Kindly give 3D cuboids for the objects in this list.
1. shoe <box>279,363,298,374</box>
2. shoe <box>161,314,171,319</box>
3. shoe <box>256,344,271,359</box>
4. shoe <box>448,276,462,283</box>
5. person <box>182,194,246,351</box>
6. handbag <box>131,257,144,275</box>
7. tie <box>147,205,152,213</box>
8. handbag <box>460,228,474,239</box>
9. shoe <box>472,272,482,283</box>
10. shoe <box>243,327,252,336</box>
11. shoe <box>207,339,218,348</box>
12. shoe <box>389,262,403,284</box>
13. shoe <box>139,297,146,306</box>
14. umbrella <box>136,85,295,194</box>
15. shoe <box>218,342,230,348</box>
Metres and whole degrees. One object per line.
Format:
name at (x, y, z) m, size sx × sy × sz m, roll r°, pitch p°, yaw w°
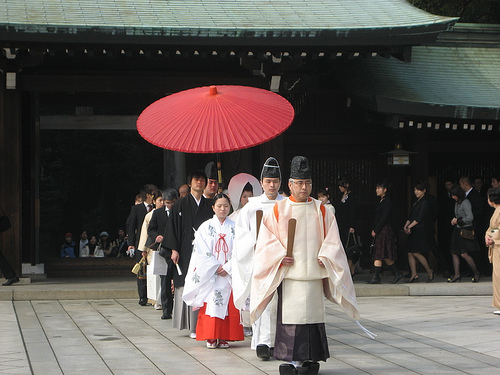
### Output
shoe at (0.481, 2.378, 11.030) m, size 0.175 × 0.120 × 0.127 m, roll 0°, pitch -7°, yaw -3°
shoe at (-1.366, 2.122, 13.863) m, size 0.146 × 0.066 × 0.077 m, roll 2°, pitch -1°, yaw -11°
shoe at (0.179, 2.266, 11.625) m, size 0.204 × 0.193 × 0.151 m, roll 0°, pitch 3°, yaw 2°
shoe at (4.091, 1.843, 16.891) m, size 0.330 × 0.139 × 0.108 m, roll 3°, pitch -8°, yaw -24°
person at (-0.520, 1.211, 12.312) m, size 0.884 × 2.049 × 0.416 m, roll 2°, pitch -1°, yaw -5°
handbag at (-2.010, 1.400, 15.137) m, size 0.129 × 0.295 × 0.304 m, roll 2°, pitch -1°, yaw -31°
tie at (-1.839, 0.375, 15.513) m, size 0.071 × 0.075 × 0.074 m, roll -3°, pitch 31°, yaw -30°
handbag at (4.269, 0.909, 16.765) m, size 0.177 × 0.180 × 0.056 m, roll 2°, pitch -10°, yaw 11°
shoe at (4.527, 1.817, 17.038) m, size 0.062 × 0.201 × 0.079 m, roll -4°, pitch -27°, yaw 45°
shoe at (-0.043, 2.234, 13.057) m, size 0.163 × 0.081 × 0.226 m, roll 0°, pitch 1°, yaw -1°
shoe at (-0.548, 2.253, 12.156) m, size 0.114 × 0.121 × 0.305 m, roll 1°, pitch 3°, yaw -2°
shoe at (2.877, 1.707, 16.827) m, size 0.273 × 0.333 × 0.371 m, roll 2°, pitch -1°, yaw 10°
shoe at (-1.917, 2.035, 15.137) m, size 0.128 × 0.120 × 0.089 m, roll -5°, pitch 6°, yaw -29°
umbrella at (-0.535, -0.742, 13.195) m, size 1.515 × 1.337 × 1.497 m, roll -8°, pitch 40°, yaw -4°
shoe at (-0.397, 2.287, 12.236) m, size 0.061 × 0.073 × 0.185 m, roll 2°, pitch -6°, yaw -23°
